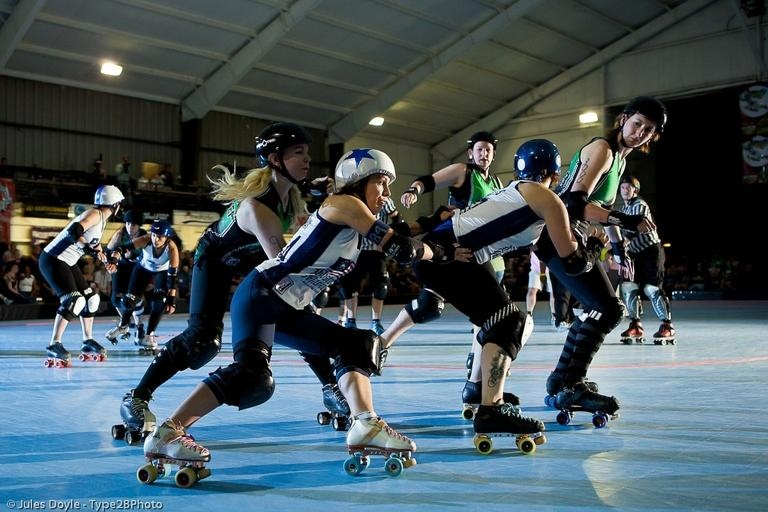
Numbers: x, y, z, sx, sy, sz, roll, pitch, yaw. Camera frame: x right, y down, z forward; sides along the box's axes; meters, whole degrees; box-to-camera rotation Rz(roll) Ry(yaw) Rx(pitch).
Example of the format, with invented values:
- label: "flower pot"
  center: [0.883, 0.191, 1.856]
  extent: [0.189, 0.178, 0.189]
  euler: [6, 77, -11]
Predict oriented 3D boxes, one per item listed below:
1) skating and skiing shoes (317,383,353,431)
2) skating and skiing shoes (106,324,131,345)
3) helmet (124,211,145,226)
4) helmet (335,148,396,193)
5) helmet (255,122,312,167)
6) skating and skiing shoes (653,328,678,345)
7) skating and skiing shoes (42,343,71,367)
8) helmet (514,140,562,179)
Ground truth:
- label: "skating and skiing shoes"
  center: [-0.423, 1.272, 6.184]
  extent: [0.218, 0.283, 0.425]
  euler: [0, -3, -35]
- label: "skating and skiing shoes"
  center: [-4.497, 1.320, 12.374]
  extent: [0.537, 0.191, 0.249]
  euler: [-17, -6, 39]
- label: "helmet"
  center: [-3.937, -0.624, 11.441]
  extent: [0.199, 0.218, 0.273]
  euler: [9, 21, 8]
- label: "helmet"
  center: [-0.158, -0.662, 5.644]
  extent: [0.389, 0.320, 0.305]
  euler: [-30, 8, 11]
- label: "helmet"
  center: [-0.809, -0.877, 5.812]
  extent: [0.393, 0.324, 0.298]
  euler: [-9, 3, 4]
- label: "skating and skiing shoes"
  center: [4.178, 1.191, 10.838]
  extent: [0.452, 0.275, 0.164]
  euler: [11, -14, -37]
- label: "skating and skiing shoes"
  center: [-4.119, 1.225, 9.189]
  extent: [0.379, 0.296, 0.271]
  euler: [-1, 1, -2]
- label: "helmet"
  center: [1.269, -0.817, 6.096]
  extent: [0.359, 0.353, 0.304]
  euler: [-15, 11, -19]
